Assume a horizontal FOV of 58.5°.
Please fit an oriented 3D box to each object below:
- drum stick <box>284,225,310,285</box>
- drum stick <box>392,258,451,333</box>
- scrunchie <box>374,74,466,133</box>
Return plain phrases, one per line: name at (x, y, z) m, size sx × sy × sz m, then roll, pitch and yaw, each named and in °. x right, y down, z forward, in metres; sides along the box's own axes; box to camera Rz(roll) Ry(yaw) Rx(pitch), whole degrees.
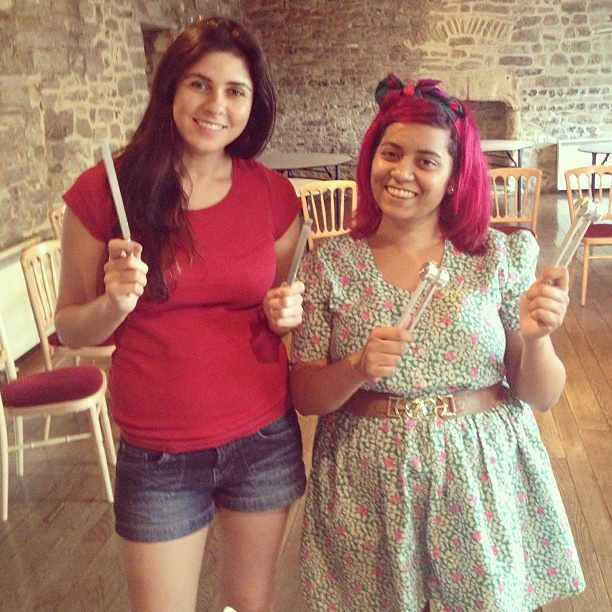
drum stick at (-0.019, -0.094, 1.023) m, size 0.012 × 0.076 × 0.125 m, roll 16°, pitch -2°, yaw -3°
drum stick at (0.198, -0.013, 0.940) m, size 0.034 × 0.129 × 0.041 m, roll 2°, pitch 41°, yaw -36°
scrunchie at (0.197, -0.390, 1.029) m, size 0.098 × 0.090 × 0.196 m, roll -18°, pitch 26°, yaw -41°
